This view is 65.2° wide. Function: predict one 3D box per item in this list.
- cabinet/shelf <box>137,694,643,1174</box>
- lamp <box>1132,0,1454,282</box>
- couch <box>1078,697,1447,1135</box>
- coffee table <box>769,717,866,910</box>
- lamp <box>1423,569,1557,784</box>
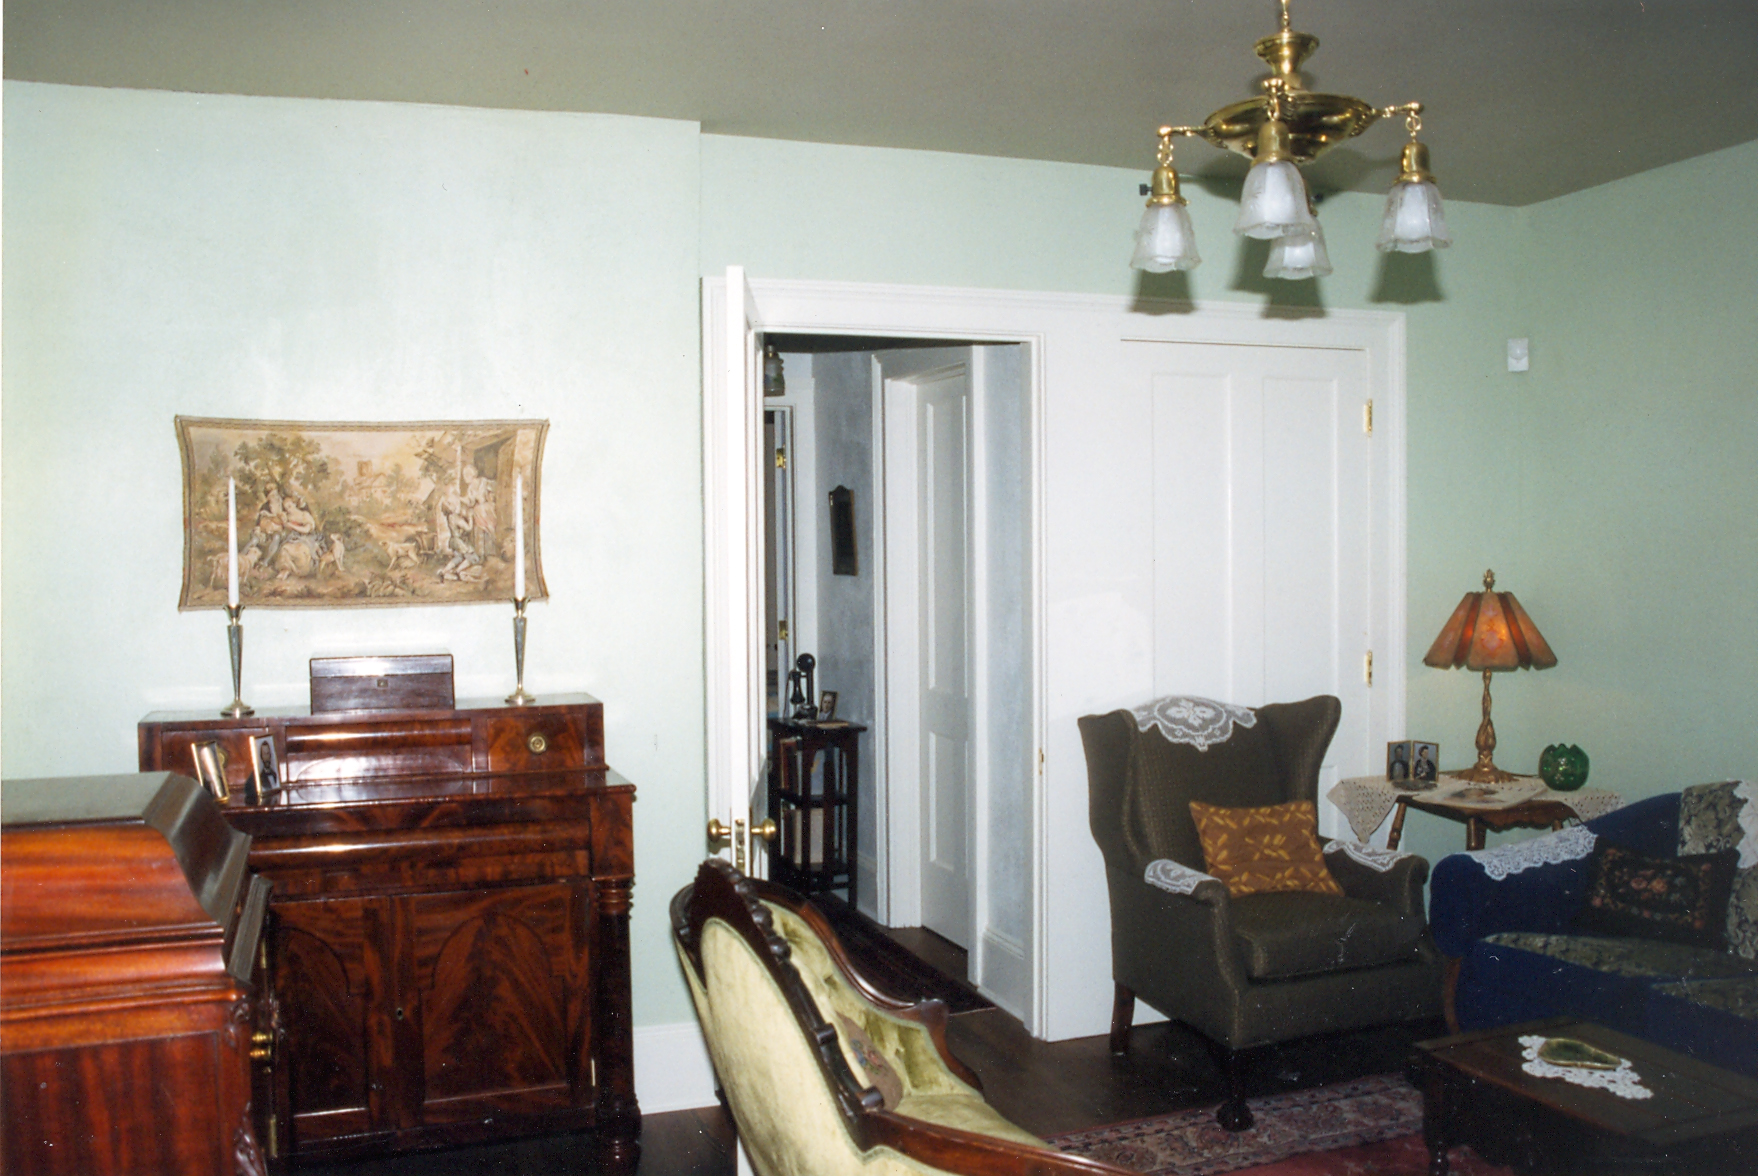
[{"bbox_3d":[-1.487,1.046,4.164,1.515,1.513,0.607,-1,0,-19],"label":"cabinet/shelf"},{"bbox_3d":[1.086,-1.099,3.918,0.861,0.936,0.854,-1,-2,12],"label":"lamp"},{"bbox_3d":[1.481,1.148,5.323,1.294,1.407,1.362,0,0,13],"label":"couch"},{"bbox_3d":[-0.291,1.052,6.682,0.358,0.867,0.915,2,-3,-15],"label":"coffee table"},{"bbox_3d":[2.569,0.352,5.811,0.489,0.860,0.526,-1,5,18],"label":"lamp"}]
